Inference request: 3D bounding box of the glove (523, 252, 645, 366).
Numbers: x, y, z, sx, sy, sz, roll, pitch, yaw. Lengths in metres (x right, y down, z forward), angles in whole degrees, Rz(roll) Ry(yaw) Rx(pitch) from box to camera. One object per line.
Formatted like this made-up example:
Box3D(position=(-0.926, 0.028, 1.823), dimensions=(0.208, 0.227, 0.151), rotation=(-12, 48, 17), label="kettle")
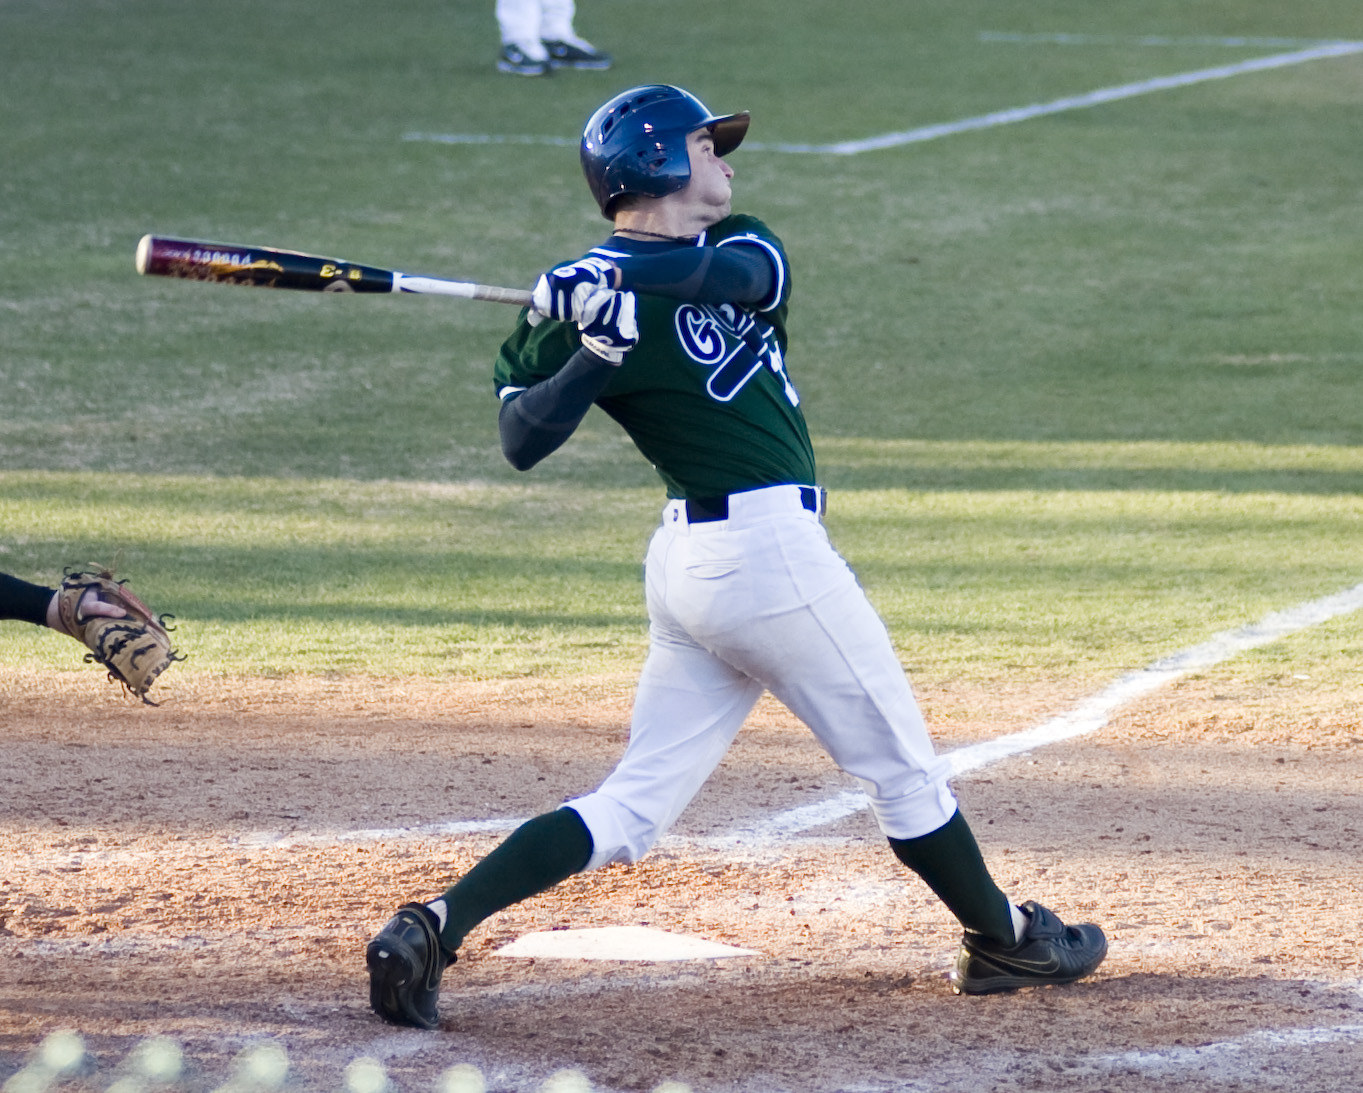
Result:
Box3D(position=(-0.315, -0.920, 9.923), dimensions=(0.401, 0.377, 0.540), rotation=(17, 29, 36), label="glove")
